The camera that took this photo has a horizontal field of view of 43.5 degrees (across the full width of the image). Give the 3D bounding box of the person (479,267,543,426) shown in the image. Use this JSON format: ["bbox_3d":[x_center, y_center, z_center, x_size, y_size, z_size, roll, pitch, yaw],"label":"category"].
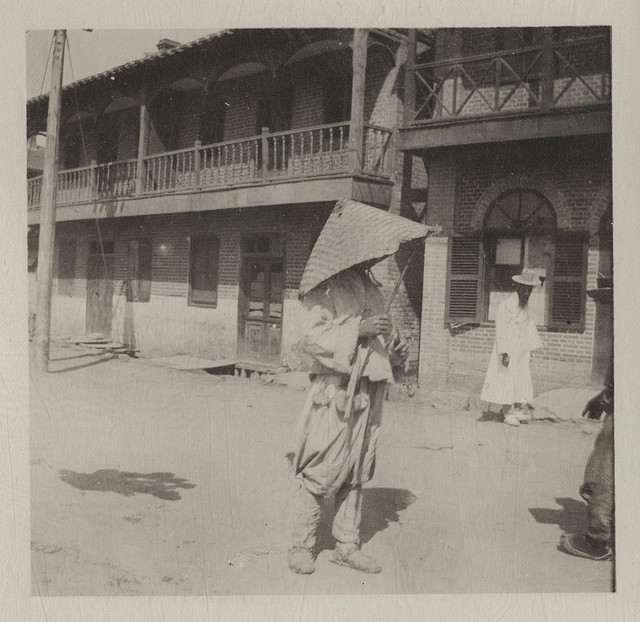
[{"bbox_3d":[1.366,0.242,5.687,0.405,1.143,0.199,3,0,22],"label":"person"}]

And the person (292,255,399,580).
[{"bbox_3d":[0.130,0.727,5.097,0.565,2.038,0.451,3,0,1],"label":"person"}]
